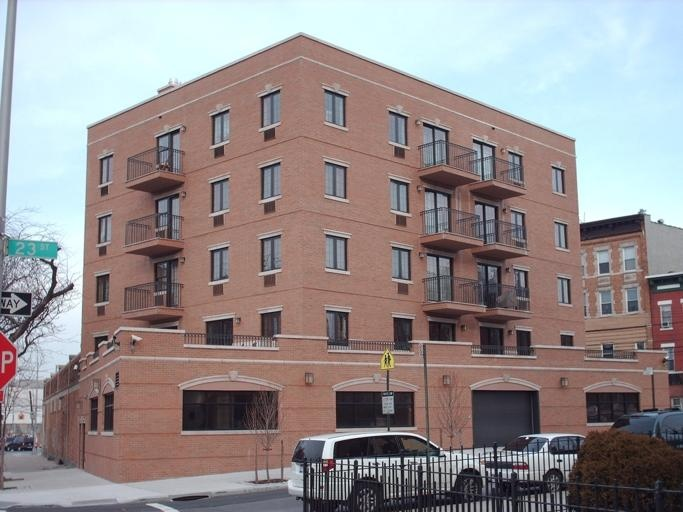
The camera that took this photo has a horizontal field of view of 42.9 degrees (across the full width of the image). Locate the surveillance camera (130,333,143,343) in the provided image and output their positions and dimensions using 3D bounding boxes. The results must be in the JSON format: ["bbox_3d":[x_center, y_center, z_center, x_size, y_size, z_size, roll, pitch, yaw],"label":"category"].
[{"bbox_3d":[-8.253,3.317,34.928,0.161,0.373,0.473,-18,-24,42],"label":"surveillance camera"}]

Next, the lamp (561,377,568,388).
[{"bbox_3d":[11.961,6.756,46.664,0.612,0.560,0.285,15,-24,-41],"label":"lamp"}]
